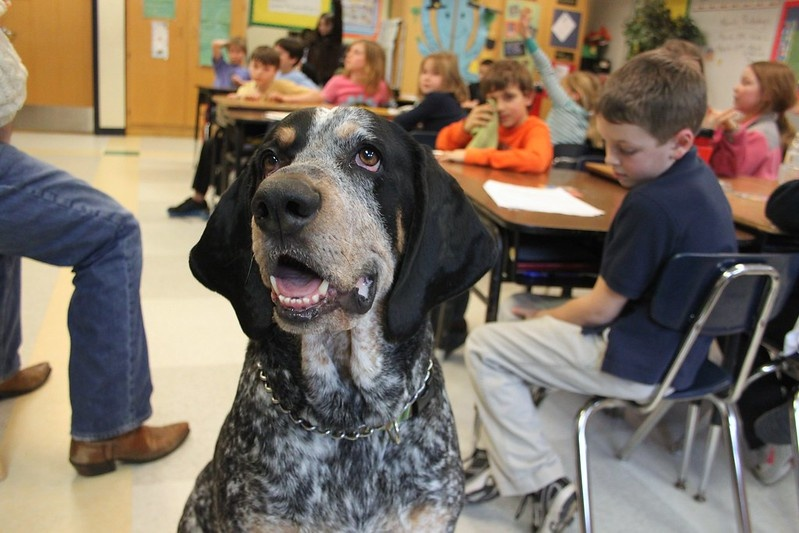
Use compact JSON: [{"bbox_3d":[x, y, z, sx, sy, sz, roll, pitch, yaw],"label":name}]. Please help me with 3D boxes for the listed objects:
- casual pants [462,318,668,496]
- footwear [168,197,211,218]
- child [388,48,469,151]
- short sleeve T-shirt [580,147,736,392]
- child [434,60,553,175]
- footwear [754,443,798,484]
[{"bbox_3d":[0.718,0.560,3.095,0.830,0.878,0.564,4,3,10],"label":"casual pants"},{"bbox_3d":[-1.902,-0.533,5.995,0.394,0.199,0.155,0,4,-28],"label":"footwear"},{"bbox_3d":[0.265,-1.301,5.458,0.580,0.883,0.462,7,17,-6],"label":"child"},{"bbox_3d":[1.094,-0.002,2.740,0.513,0.906,0.381,-6,21,-25],"label":"short sleeve T-shirt"},{"bbox_3d":[0.673,-0.908,4.343,0.738,0.612,0.821,7,13,32],"label":"child"},{"bbox_3d":[1.867,0.963,3.313,0.151,0.209,0.074,43,3,42],"label":"footwear"}]
